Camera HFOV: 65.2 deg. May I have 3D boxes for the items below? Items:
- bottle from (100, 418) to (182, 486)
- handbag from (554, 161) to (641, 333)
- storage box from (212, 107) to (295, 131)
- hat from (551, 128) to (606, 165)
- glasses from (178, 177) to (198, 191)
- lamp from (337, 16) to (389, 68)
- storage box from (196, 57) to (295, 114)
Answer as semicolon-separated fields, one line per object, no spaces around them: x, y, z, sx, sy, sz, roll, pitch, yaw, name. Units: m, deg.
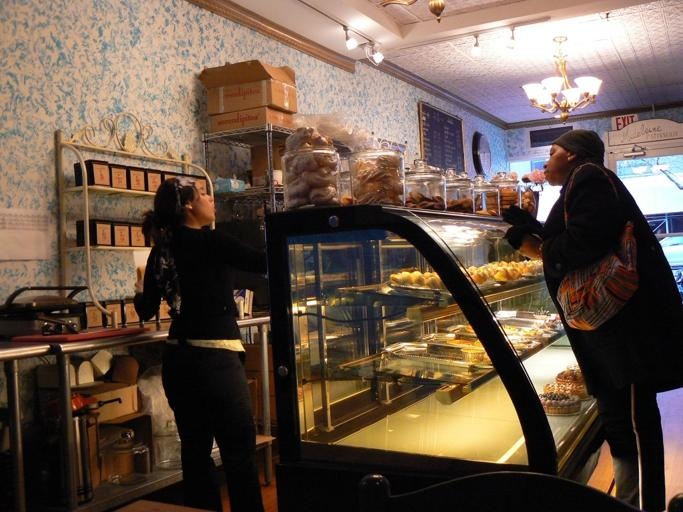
-1.114;1.043;2.923;0.330;0.302;0.339;-5;-6;33;bottle
0.894;-0.034;1.905;0.354;0.533;0.185;-12;-2;35;handbag
-0.690;-1.000;3.943;0.633;0.174;0.278;-5;1;0;storage box
0.951;-0.454;2.149;0.180;0.141;0.156;14;6;43;hat
-0.642;-0.300;2.241;0.055;0.019;0.054;30;5;5;glasses
0.219;-1.974;5.031;0.191;0.339;0.810;-17;34;-26;lamp
-0.627;-1.179;3.979;0.486;0.295;0.495;0;3;30;storage box
